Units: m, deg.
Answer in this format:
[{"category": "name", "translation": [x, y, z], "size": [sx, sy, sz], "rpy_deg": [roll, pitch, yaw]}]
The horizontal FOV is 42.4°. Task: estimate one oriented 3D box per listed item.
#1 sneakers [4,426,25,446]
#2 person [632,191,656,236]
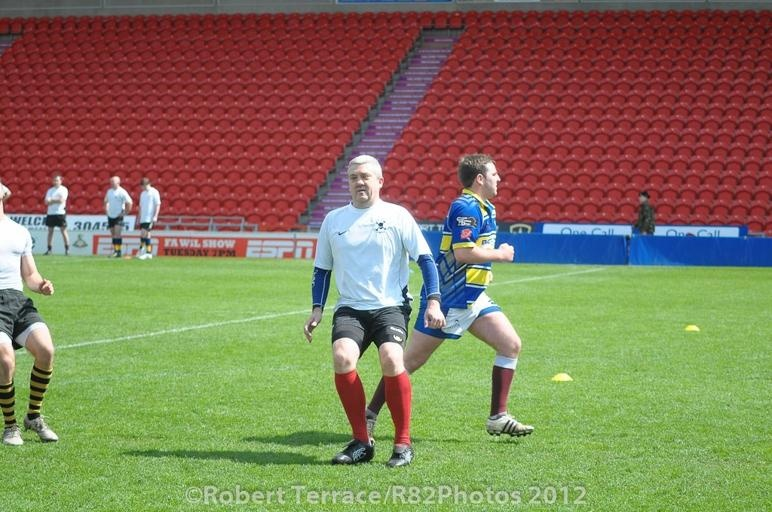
[{"category": "sneakers", "translation": [-5.035, 2.417, 13.490], "size": [0.267, 0.250, 0.216], "rpy_deg": [-1, 2, -20]}, {"category": "person", "translation": [7.421, -1.228, 28.710], "size": [0.602, 1.203, 3.265], "rpy_deg": [1, 2, 14]}]
